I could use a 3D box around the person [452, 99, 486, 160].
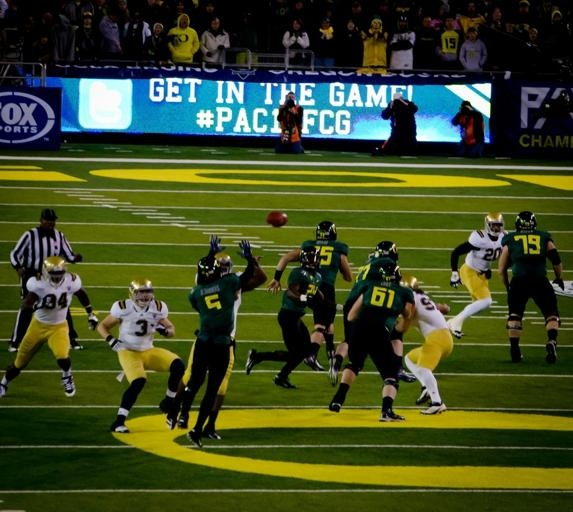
[{"bbox_3d":[4.603,-3.208,28.203,0.784,1.336,1.363,3,4,11],"label":"person"}]

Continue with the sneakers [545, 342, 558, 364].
[{"bbox_3d":[3.458,1.260,14.566,0.131,0.301,0.148,3,15,20],"label":"sneakers"}]

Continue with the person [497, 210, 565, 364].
[{"bbox_3d":[3.241,0.413,14.940,0.796,1.995,0.921,3,4,10],"label":"person"}]

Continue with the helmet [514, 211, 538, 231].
[{"bbox_3d":[3.275,-0.492,15.260,0.265,0.273,0.303,3,11,13],"label":"helmet"}]

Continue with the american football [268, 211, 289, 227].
[{"bbox_3d":[-0.083,-0.547,16.488,0.343,0.230,0.237,-2,8,-12],"label":"american football"}]

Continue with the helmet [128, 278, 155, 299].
[{"bbox_3d":[-1.507,0.339,11.633,0.190,0.178,0.226,3,-15,-23],"label":"helmet"}]

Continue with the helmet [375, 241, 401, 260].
[{"bbox_3d":[1.176,-0.061,12.875,0.218,0.249,0.275,8,17,39],"label":"helmet"}]

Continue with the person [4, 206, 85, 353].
[{"bbox_3d":[-3.158,0.306,14.700,1.118,1.767,0.668,-3,7,-30],"label":"person"}]

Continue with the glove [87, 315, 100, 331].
[{"bbox_3d":[-2.333,0.788,13.515,0.163,0.105,0.260,-3,29,-1],"label":"glove"}]

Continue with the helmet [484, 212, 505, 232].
[{"bbox_3d":[2.954,-0.482,15.985,0.248,0.261,0.307,2,-13,2],"label":"helmet"}]

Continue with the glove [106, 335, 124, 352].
[{"bbox_3d":[-1.804,0.891,11.600,0.192,0.120,0.080,31,53,34],"label":"glove"}]

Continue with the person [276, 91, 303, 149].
[{"bbox_3d":[0.109,-3.279,27.713,0.644,1.390,1.479,2,4,-1],"label":"person"}]

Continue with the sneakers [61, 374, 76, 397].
[{"bbox_3d":[-2.452,1.461,12.581,0.115,0.128,0.316,-6,16,-9],"label":"sneakers"}]

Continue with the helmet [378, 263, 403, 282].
[{"bbox_3d":[1.126,0.176,12.101,0.231,0.209,0.235,2,4,9],"label":"helmet"}]

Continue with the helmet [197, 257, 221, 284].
[{"bbox_3d":[-0.770,0.143,11.141,0.229,0.277,0.265,1,4,-4],"label":"helmet"}]

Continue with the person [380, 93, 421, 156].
[{"bbox_3d":[2.869,-3.346,28.228,0.897,1.479,1.541,2,4,6],"label":"person"}]

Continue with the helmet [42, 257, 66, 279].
[{"bbox_3d":[-2.598,0.131,12.541,0.248,0.251,0.248,1,4,-14],"label":"helmet"}]

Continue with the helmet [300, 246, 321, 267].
[{"bbox_3d":[0.289,0.006,13.562,0.234,0.259,0.204,2,4,0],"label":"helmet"}]

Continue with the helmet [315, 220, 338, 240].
[{"bbox_3d":[0.523,-0.343,14.843,0.238,0.261,0.287,3,9,16],"label":"helmet"}]

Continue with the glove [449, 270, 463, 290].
[{"bbox_3d":[2.584,0.367,17.055,0.293,0.372,0.132,4,48,16],"label":"glove"}]
